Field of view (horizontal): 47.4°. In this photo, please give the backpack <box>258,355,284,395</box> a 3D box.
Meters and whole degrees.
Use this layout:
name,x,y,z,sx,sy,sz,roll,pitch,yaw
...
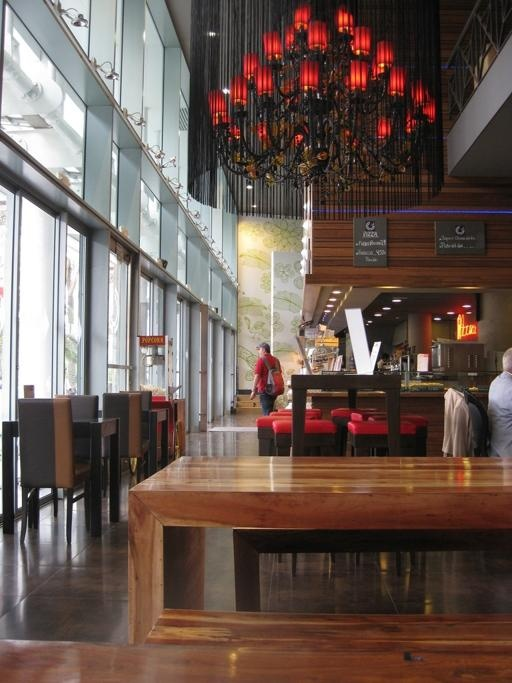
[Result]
name,x,y,z,sx,sy,sz,roll,pitch,yaw
backpack,0.178,0.417,7.151,0.315,0.503,0.350,-1,2,-5
